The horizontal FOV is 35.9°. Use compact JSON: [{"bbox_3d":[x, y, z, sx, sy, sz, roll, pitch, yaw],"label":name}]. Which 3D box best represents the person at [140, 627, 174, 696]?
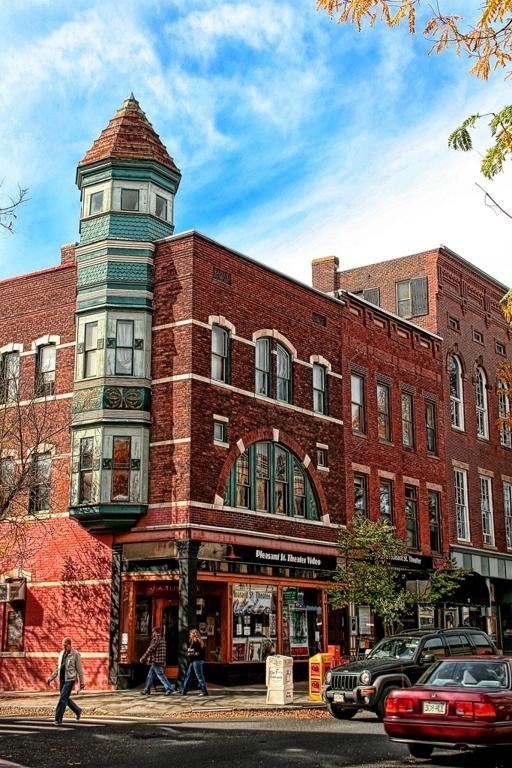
[{"bbox_3d":[-2.346,6.576,18.805,0.756,1.506,2.168,0,-18,-5],"label":"person"}]

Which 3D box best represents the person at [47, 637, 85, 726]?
[{"bbox_3d":[-3.478,5.369,14.388,0.616,1.417,2.323,3,-18,-12],"label":"person"}]

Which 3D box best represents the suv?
[{"bbox_3d":[2.908,5.255,14.998,3.385,1.458,1.835,12,-29,-38],"label":"suv"}]

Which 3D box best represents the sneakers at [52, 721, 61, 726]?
[{"bbox_3d":[-3.420,5.799,13.487,0.104,0.100,0.238,1,-22,0],"label":"sneakers"}]
